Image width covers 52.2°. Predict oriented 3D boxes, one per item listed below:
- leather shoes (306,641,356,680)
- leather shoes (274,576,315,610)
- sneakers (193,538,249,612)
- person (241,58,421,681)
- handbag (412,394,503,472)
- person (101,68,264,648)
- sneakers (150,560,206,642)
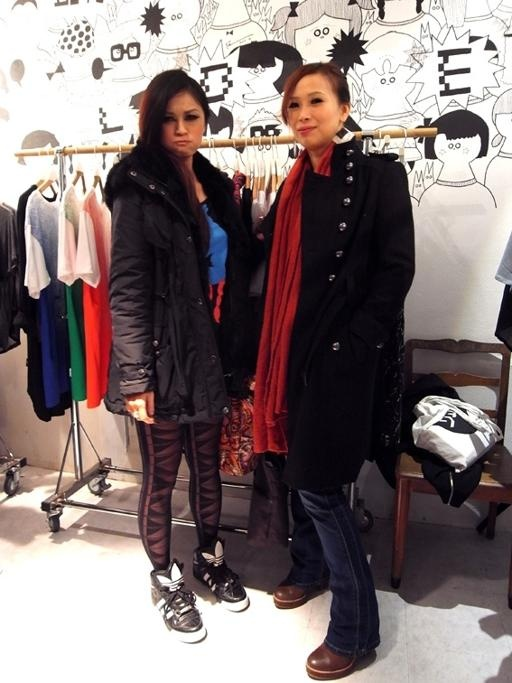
[{"bbox_3d":[0.215,0.927,1.514,0.070,0.069,0.157,-2,-10,27],"label":"leather shoes"},{"bbox_3d":[0.126,0.884,1.848,0.060,0.068,0.167,-2,-10,23],"label":"leather shoes"},{"bbox_3d":[-0.134,0.833,1.955,0.110,0.194,0.304,-10,15,-39],"label":"sneakers"},{"bbox_3d":[0.207,0.094,1.569,0.419,1.745,0.490,-3,10,-12],"label":"person"},{"bbox_3d":[0.692,0.306,1.843,0.253,0.091,0.250,-37,53,-22],"label":"handbag"},{"bbox_3d":[-0.198,0.062,1.691,0.529,1.767,0.275,-8,12,-35],"label":"person"},{"bbox_3d":[-0.260,0.869,1.741,0.114,0.175,0.289,-7,6,-26],"label":"sneakers"}]
